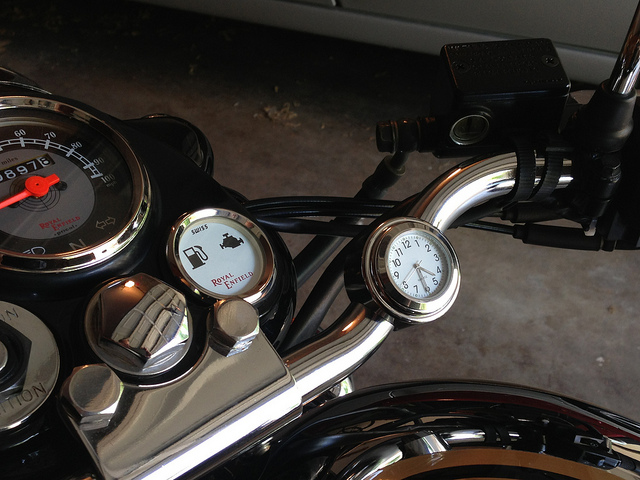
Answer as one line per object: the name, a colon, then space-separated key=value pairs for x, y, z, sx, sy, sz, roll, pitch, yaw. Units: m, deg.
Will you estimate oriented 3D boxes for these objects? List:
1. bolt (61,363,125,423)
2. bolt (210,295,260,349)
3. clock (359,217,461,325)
bolt: x=-0.201 y=0.139 z=0.539 sx=0.061 sy=0.033 sz=0.051 roll=11 pitch=25 yaw=14
bolt: x=-0.082 y=0.080 z=0.581 sx=0.052 sy=0.048 sz=0.045 roll=3 pitch=85 yaw=-14
clock: x=0.091 y=0.036 z=0.671 sx=0.113 sy=0.037 sz=0.114 roll=-13 pitch=80 yaw=-28
